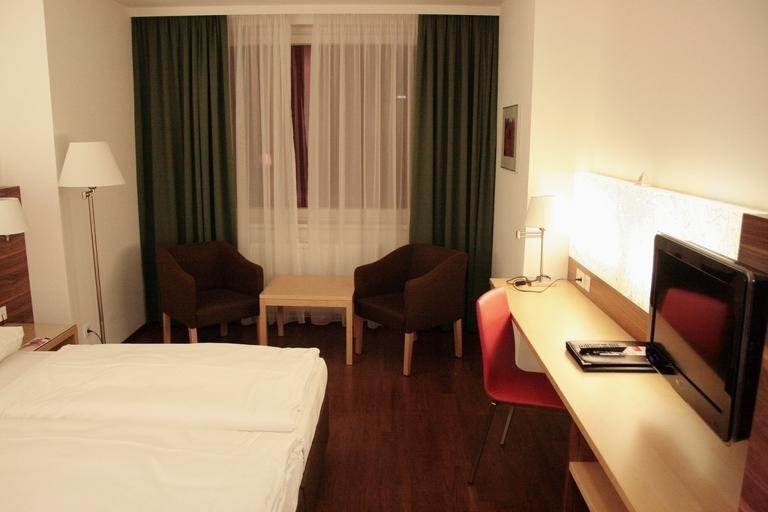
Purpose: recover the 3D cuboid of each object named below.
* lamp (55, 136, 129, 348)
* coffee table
[{"bbox_3d":[-2.419,-0.062,4.844,0.420,1.812,0.555,1,17,8],"label":"lamp"},{"bbox_3d":[-0.786,0.622,5.583,1.049,0.696,1.139,0,-15,8],"label":"coffee table"}]
